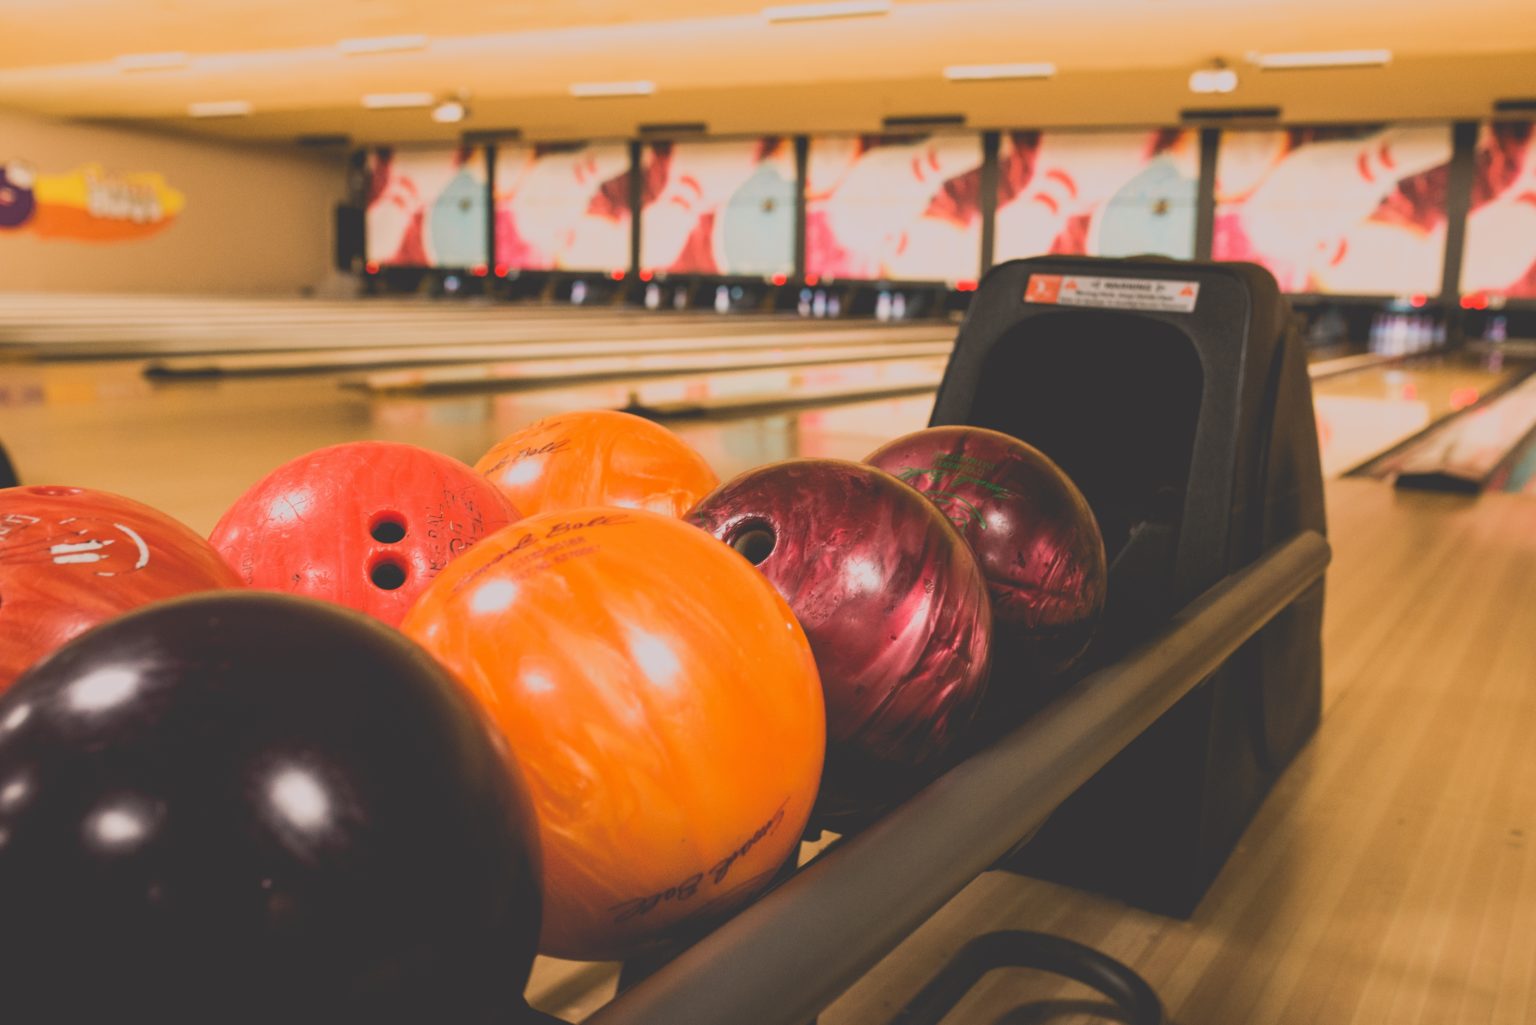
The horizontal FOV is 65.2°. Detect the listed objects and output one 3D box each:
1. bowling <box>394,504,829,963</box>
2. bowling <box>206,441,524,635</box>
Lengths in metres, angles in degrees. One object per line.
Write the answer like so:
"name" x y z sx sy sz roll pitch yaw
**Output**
"bowling" -0.086 0.127 0.861 0.271 0.310 0.270 11 23 21
"bowling" -0.321 0.036 0.945 0.190 0.107 0.159 5 -12 -41
